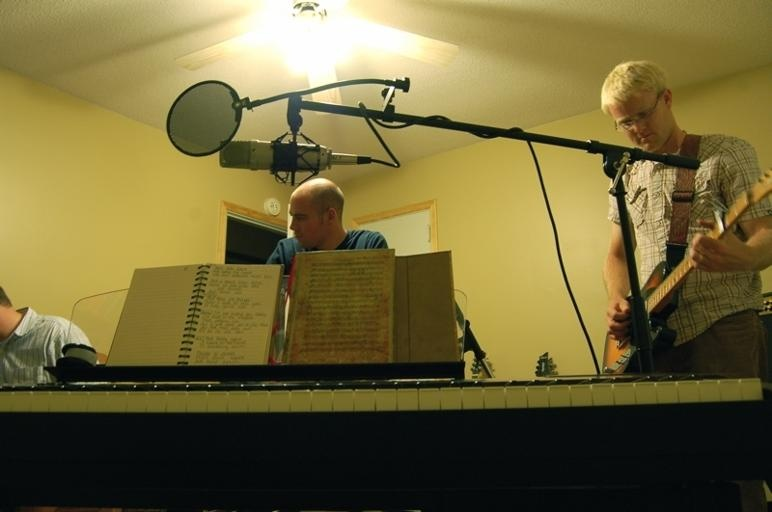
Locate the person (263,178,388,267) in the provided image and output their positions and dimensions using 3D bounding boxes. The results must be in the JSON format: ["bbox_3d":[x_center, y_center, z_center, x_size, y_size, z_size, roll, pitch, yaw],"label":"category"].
[{"bbox_3d":[-0.357,-0.233,4.001,0.814,0.394,0.467,5,12,45],"label":"person"}]

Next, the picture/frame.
[{"bbox_3d":[0.126,-0.274,5.928,0.545,0.365,0.075,-7,-23,28],"label":"picture/frame"}]

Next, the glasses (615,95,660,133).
[{"bbox_3d":[1.186,-0.676,3.205,0.050,0.165,0.159,35,-29,1],"label":"glasses"}]

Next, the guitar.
[{"bbox_3d":[1.309,0.143,3.042,0.194,0.658,1.179,10,-21,-15],"label":"guitar"}]
